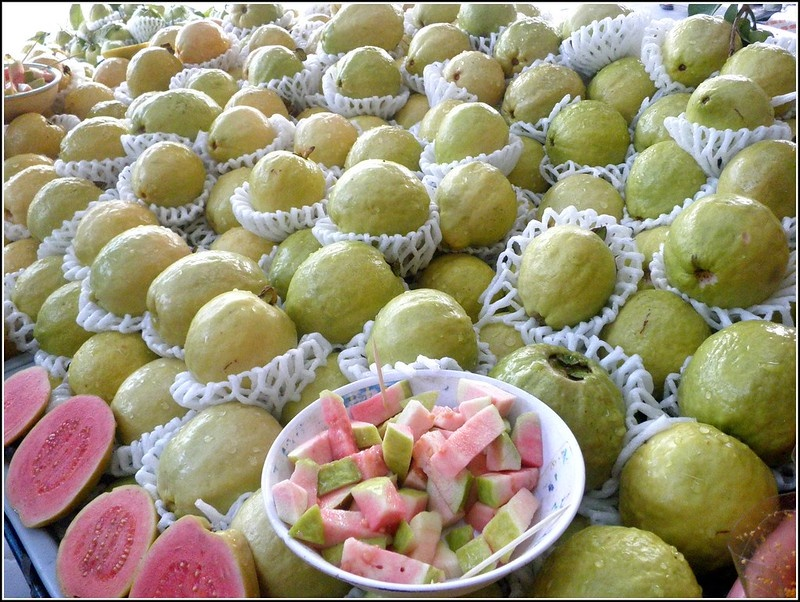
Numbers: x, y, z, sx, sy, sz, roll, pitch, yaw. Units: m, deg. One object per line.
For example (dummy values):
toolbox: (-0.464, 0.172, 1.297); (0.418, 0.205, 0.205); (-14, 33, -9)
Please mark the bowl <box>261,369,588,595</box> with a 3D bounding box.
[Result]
bowl: (0.083, 0.454, 1.901); (0.587, 0.163, 0.609); (-4, 34, 2)
